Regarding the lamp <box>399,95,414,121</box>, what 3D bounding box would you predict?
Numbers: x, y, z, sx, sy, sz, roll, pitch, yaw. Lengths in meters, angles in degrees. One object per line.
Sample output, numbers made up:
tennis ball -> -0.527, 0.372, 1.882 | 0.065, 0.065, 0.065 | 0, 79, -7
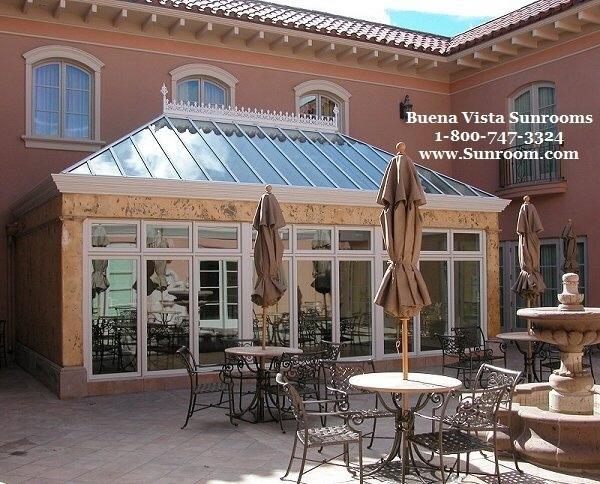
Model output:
lamp -> 3.139, -3.963, 22.885 | 0.361, 0.764, 0.145 | 0, -6, -16
